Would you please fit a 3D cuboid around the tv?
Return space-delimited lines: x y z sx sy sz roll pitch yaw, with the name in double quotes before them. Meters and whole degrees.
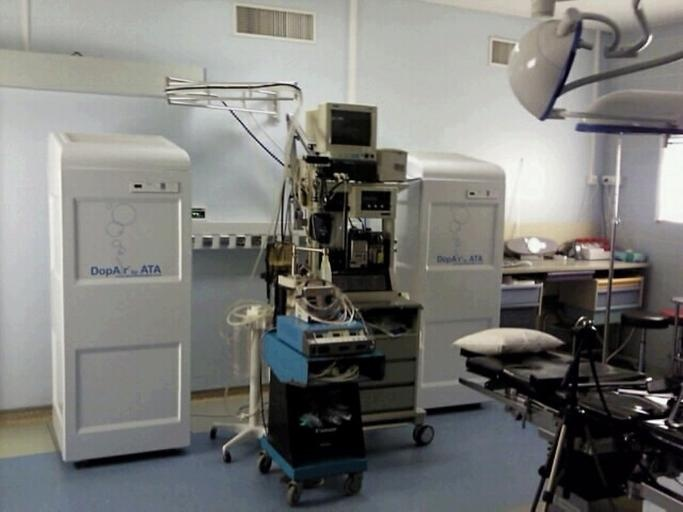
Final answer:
"tv" -0.004 -0.913 4.760 0.446 0.444 0.465 -2 5 -24

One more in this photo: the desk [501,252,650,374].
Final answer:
"desk" 2.470 0.338 6.210 1.803 1.283 0.942 -1 7 -18

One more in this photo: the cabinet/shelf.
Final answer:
"cabinet/shelf" 0.412 0.886 4.816 0.672 1.164 0.484 0 13 -8
